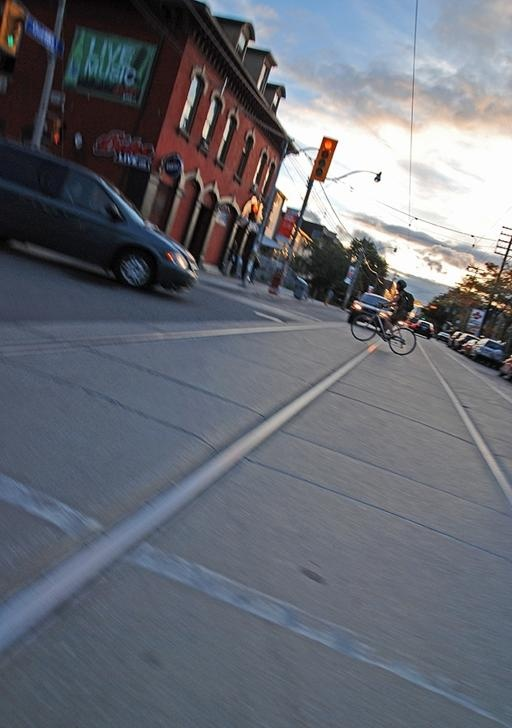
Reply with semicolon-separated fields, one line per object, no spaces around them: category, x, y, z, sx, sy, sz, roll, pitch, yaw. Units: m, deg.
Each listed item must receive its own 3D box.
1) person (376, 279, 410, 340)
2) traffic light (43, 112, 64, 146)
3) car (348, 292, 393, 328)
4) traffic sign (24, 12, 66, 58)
person;4.508;-1.731;15.910;0.942;1.568;1.568;22;11;12
traffic light;-8.718;-10.104;21.365;0.703;1.272;0.328;3;6;32
car;5.381;-2.698;23.444;1.707;1.566;3.004;2;3;8
traffic sign;-6.034;-9.440;14.079;0.786;0.629;1.611;17;12;-17
